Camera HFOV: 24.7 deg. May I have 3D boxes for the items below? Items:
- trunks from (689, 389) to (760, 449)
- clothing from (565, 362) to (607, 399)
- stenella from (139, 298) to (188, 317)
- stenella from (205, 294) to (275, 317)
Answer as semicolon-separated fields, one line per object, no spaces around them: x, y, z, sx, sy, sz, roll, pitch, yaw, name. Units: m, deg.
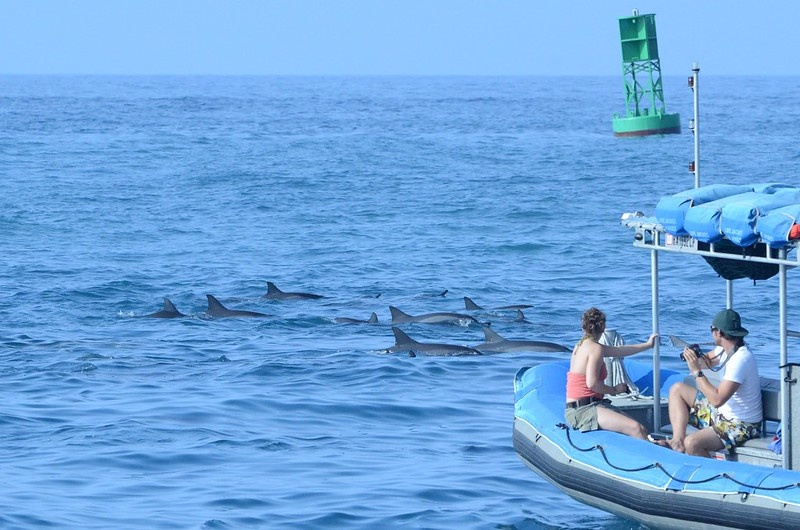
9.143;4.299;51.083;2.176;1.639;0.685;23;-19;12;trunks
5.290;3.301;51.616;1.328;0.706;1.229;-7;12;-37;clothing
-8.484;1.538;65.738;1.234;0.564;1.241;8;15;39;stenella
-6.016;1.391;65.813;2.057;0.784;0.958;-2;13;-3;stenella
